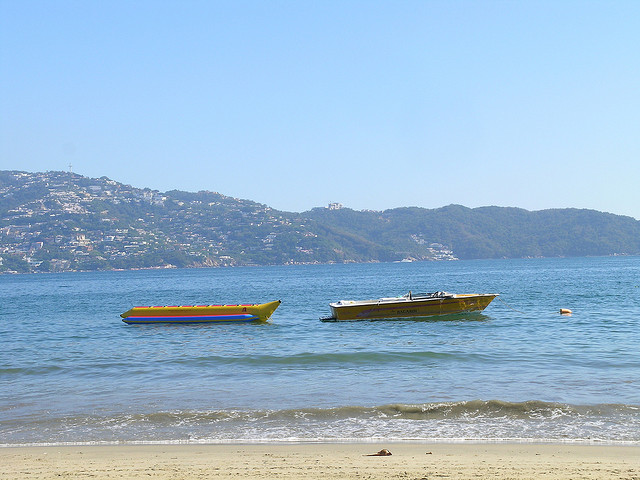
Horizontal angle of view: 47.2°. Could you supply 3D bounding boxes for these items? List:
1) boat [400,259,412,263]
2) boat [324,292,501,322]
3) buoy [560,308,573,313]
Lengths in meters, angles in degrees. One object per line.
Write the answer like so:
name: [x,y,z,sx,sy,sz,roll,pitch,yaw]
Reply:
boat: [45.251,10.843,385.116,5.748,2.228,16.946,-3,-5,8]
boat: [6.235,4.585,50.362,11.227,1.407,2.479,-4,-11,-6]
buoy: [17.639,5.046,52.219,0.971,0.318,0.564,4,2,0]
